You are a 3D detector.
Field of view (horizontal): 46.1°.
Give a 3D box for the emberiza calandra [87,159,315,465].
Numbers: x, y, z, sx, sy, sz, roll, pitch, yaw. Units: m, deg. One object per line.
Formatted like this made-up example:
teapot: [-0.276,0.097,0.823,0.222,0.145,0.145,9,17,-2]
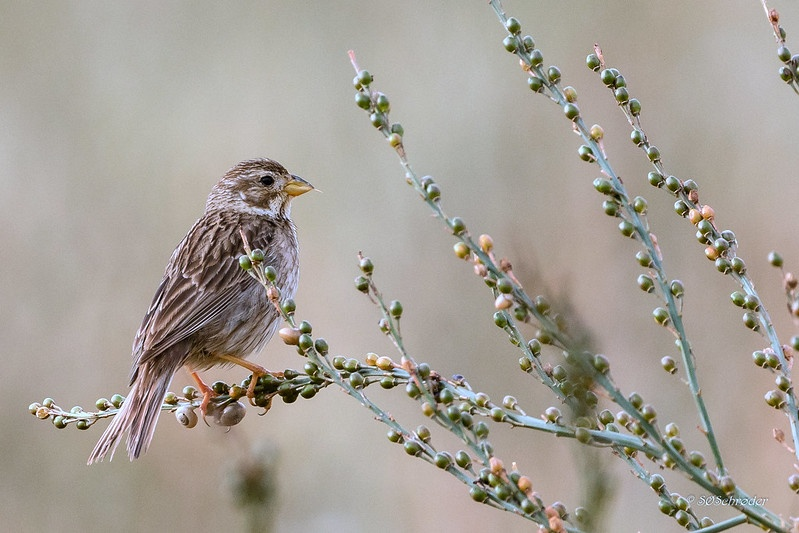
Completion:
emberiza calandra: [-0.974,0.276,4.669,0.432,1.416,0.945,18,-13,-38]
